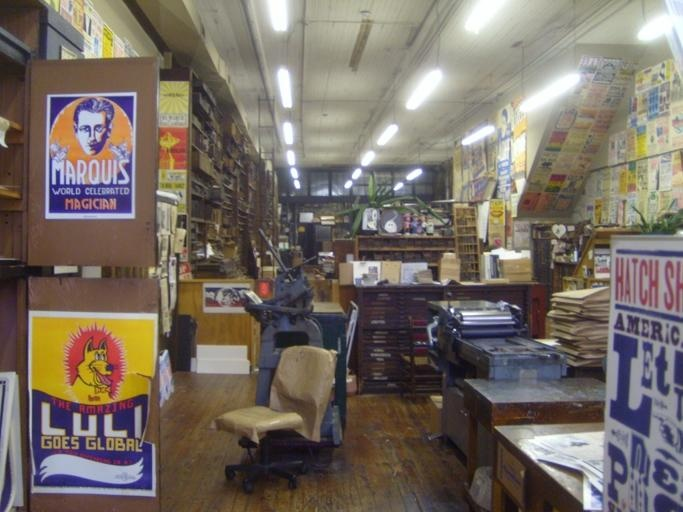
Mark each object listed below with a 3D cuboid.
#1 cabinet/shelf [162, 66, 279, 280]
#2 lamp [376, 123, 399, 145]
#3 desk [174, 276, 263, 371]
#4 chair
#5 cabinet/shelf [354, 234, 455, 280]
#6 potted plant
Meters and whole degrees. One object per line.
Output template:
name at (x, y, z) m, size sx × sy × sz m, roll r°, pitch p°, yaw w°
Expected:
cabinet/shelf at (-1.892, -1.508, 10.952) m, size 1.169 × 3.007 × 8.717 m, roll 0°, pitch 9°, yaw -4°
lamp at (0.987, -2.669, 12.347) m, size 0.241 × 0.061 × 0.734 m, roll 44°, pitch -14°, yaw -1°
desk at (-1.499, 0.763, 6.756) m, size 0.792 × 0.822 × 0.492 m, roll -4°, pitch -17°, yaw -33°
chair at (-0.378, 1.164, 4.368) m, size 0.951 × 1.233 × 0.804 m, roll 7°, pitch -6°, yaw -42°
cabinet/shelf at (0.823, 0.011, 7.466) m, size 1.454 × 0.622 × 0.367 m, roll -2°, pitch 9°, yaw -18°
potted plant at (1.069, -1.141, 11.797) m, size 2.686 × 1.599 × 2.182 m, roll 3°, pitch 5°, yaw 28°
